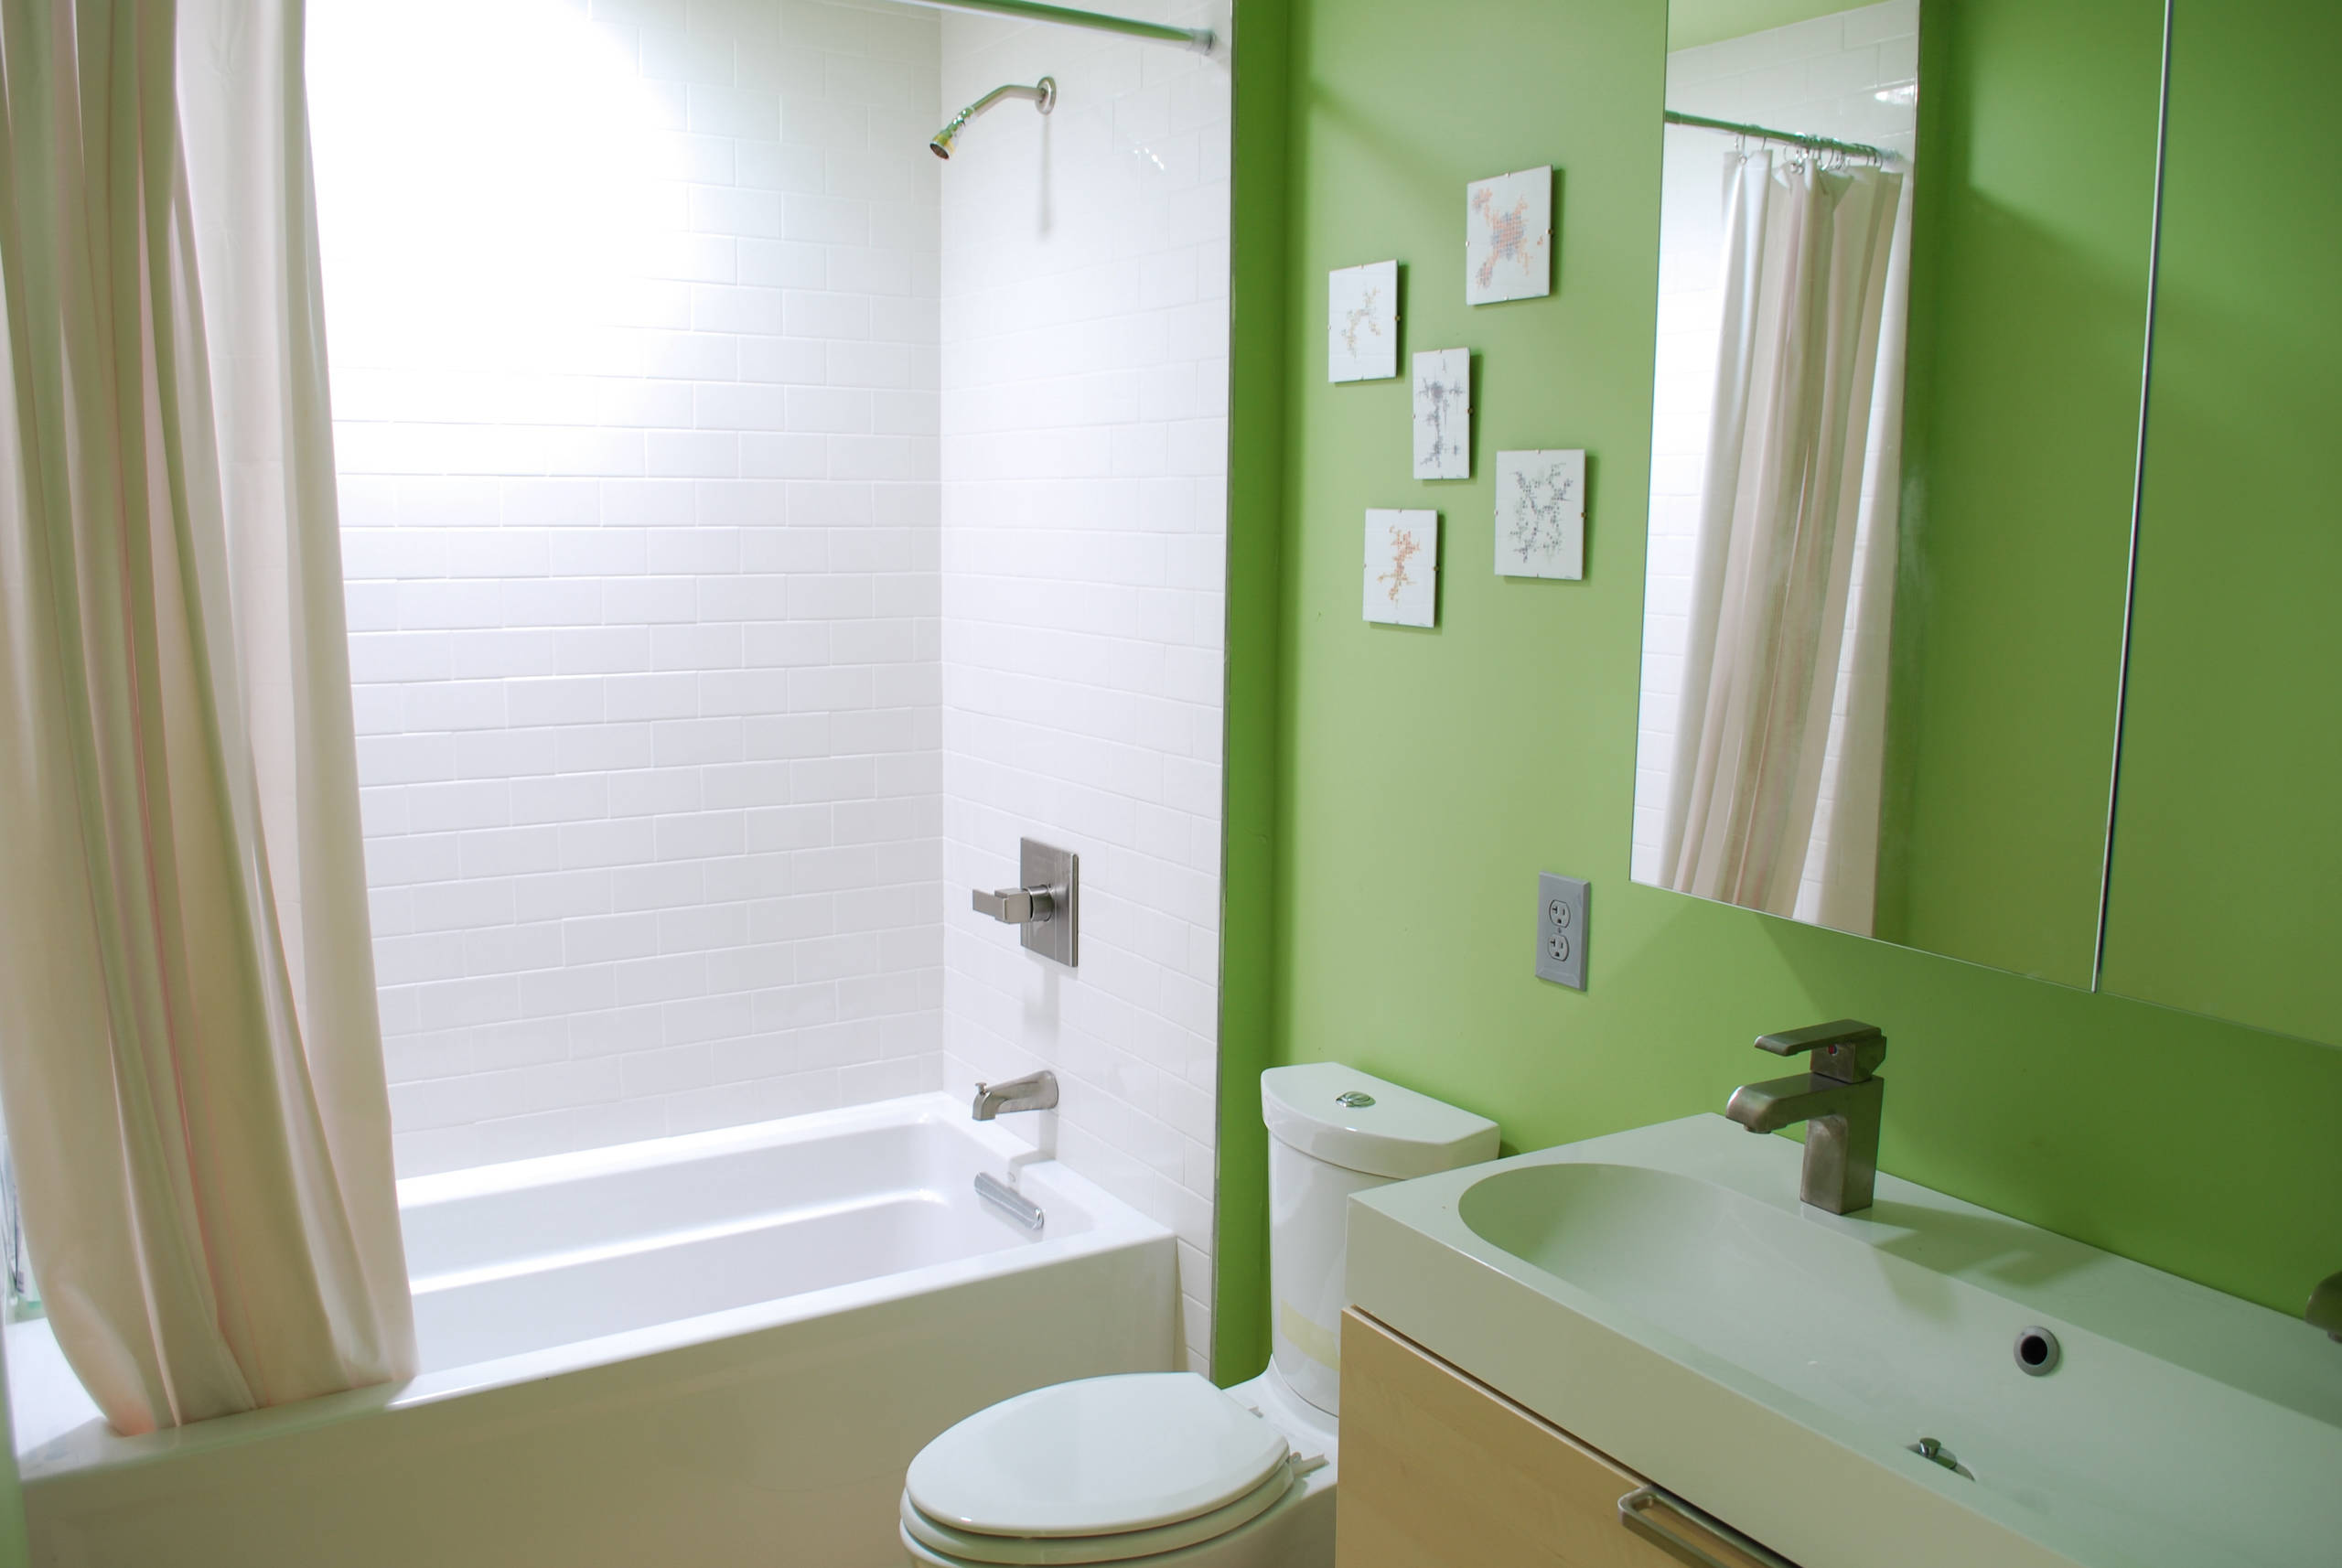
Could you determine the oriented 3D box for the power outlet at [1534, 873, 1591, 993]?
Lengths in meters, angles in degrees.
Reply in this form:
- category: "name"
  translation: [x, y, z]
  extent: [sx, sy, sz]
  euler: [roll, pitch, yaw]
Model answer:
- category: "power outlet"
  translation: [0.600, 0.227, 2.461]
  extent: [0.023, 0.172, 0.102]
  euler: [-12, 17, -37]
